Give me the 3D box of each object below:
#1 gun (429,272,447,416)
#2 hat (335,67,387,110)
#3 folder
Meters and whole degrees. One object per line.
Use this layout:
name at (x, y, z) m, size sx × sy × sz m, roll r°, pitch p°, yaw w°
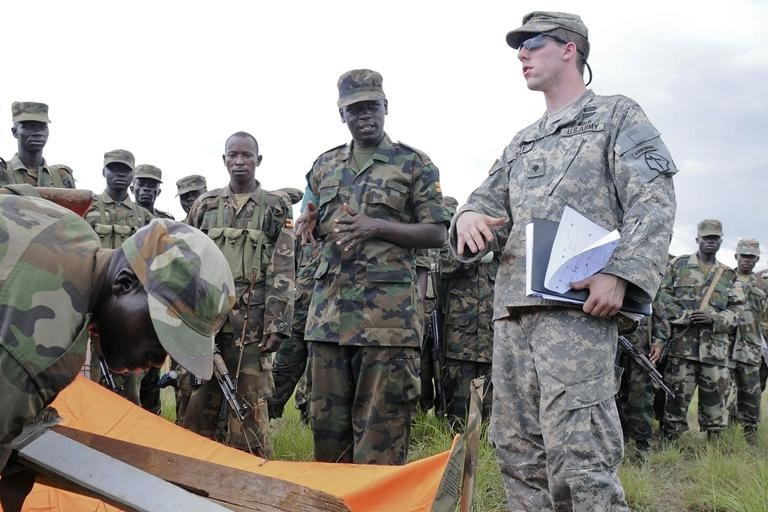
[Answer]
gun at (0.751, 1.005, 7.741) m, size 0.159 × 1.481 × 0.446 m, roll 0°, pitch -2°, yaw 6°
hat at (-0.167, -1.246, 5.119) m, size 0.353 × 0.285 × 0.146 m, roll 5°, pitch -11°, yaw 1°
folder at (1.084, 0.052, 3.714) m, size 0.596 × 0.462 × 0.269 m, roll 3°, pitch -12°, yaw 13°
